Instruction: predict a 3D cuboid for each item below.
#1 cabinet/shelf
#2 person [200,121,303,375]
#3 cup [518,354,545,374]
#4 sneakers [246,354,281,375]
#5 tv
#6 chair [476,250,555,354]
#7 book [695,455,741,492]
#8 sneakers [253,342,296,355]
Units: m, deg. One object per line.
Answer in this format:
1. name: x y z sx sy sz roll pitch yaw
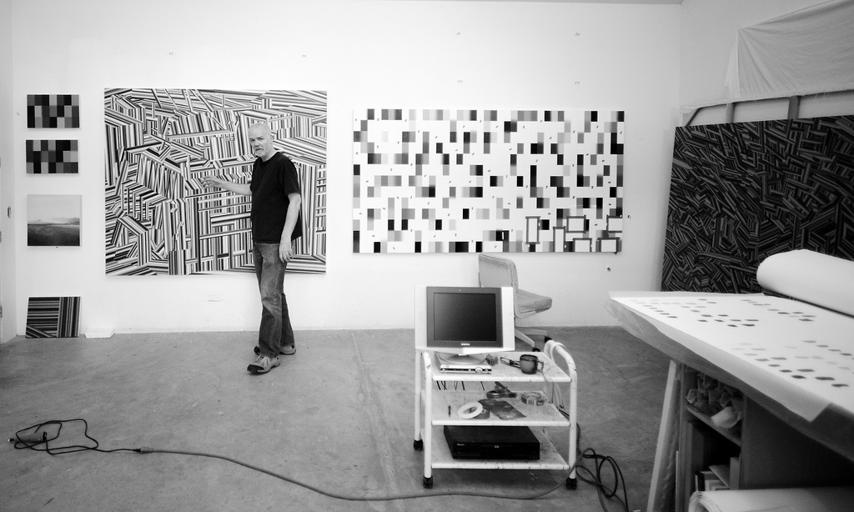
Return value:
1. cabinet/shelf: 0.516 1.035 3.914 1.212 0.890 0.963 1 15 -2
2. person: -1.545 -0.100 5.332 0.563 2.421 0.992 -3 15 -14
3. cup: 0.735 0.756 3.698 0.112 0.098 0.156 -2 4 -43
4. sneakers: -1.604 1.072 5.234 0.130 0.140 0.333 -5 -6 28
5. tv: 0.272 0.501 3.835 0.596 0.427 0.062 1 -10 -3
6. chair: 1.008 0.498 6.162 0.766 1.017 0.851 -4 10 -25
7. book: 1.648 1.250 3.042 0.256 0.061 0.264 -5 4 10
8. sneakers: -1.591 0.972 5.611 0.467 0.200 0.168 2 -1 -13
